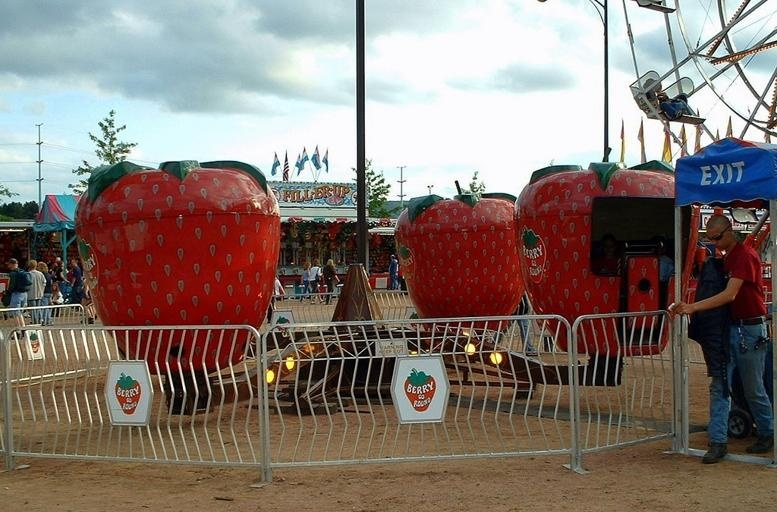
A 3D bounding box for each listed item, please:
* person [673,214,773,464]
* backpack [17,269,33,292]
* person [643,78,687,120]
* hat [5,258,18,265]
[{"bbox_3d":[3.642,0.851,9.240,0.926,2.506,1.107,-2,-1,8],"label":"person"},{"bbox_3d":[-7.459,0.501,17.722,0.350,0.448,0.343,-5,-4,33],"label":"backpack"},{"bbox_3d":[6.732,-3.783,20.926,1.036,1.013,0.466,1,8,18],"label":"person"},{"bbox_3d":[-9.871,0.130,22.533,0.283,0.150,0.206,14,10,29],"label":"hat"}]
